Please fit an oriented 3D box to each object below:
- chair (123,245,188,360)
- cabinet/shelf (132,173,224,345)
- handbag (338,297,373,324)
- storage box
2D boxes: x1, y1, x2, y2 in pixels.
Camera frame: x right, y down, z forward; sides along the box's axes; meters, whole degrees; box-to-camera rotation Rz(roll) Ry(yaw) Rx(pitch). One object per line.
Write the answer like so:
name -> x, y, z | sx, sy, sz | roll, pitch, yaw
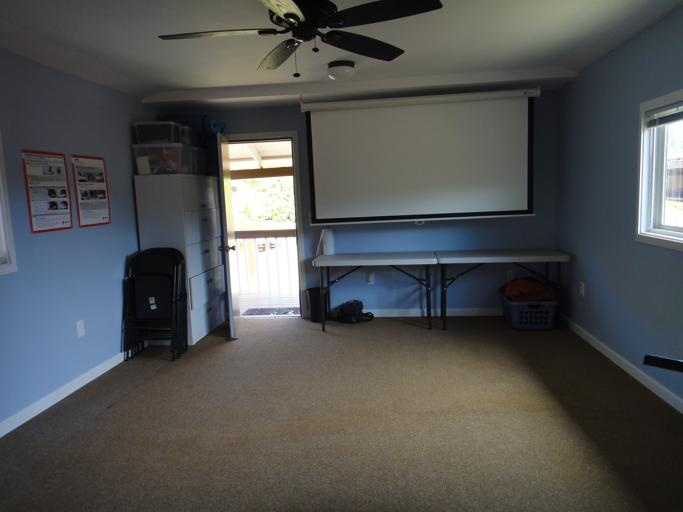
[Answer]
chair -> -2.004, 0.500, 5.170 | 0.587, 1.092, 0.518 | -1, 14, 6
cabinet/shelf -> -1.919, 0.041, 5.839 | 0.594, 1.888, 1.070 | 0, 8, 9
handbag -> 0.157, 0.674, 5.917 | 0.345, 0.228, 0.265 | 3, -2, 11
storage box -> -2.008, -1.162, 5.487 | 0.505, 0.598, 0.828 | 0, 5, 6
